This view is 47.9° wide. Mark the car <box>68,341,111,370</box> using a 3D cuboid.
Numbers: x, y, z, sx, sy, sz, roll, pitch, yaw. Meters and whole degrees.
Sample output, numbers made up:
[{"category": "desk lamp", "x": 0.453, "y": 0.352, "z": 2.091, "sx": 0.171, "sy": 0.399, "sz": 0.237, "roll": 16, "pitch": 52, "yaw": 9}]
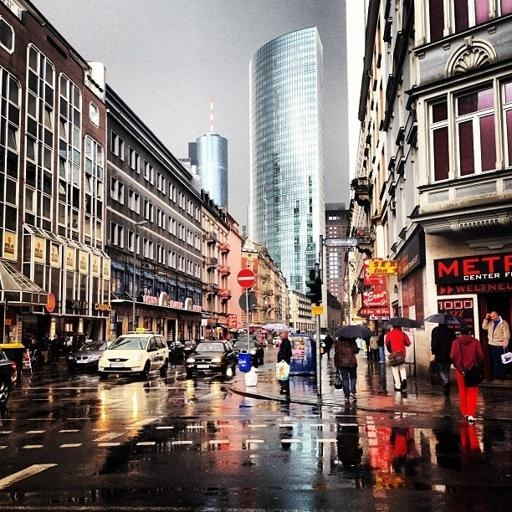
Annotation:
[{"category": "car", "x": -8.794, "y": 5.249, "z": 30.674, "sx": 1.208, "sy": 1.214, "sz": 3.146, "roll": -1, "pitch": -7, "yaw": 4}]

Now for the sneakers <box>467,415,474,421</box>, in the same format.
[{"category": "sneakers", "x": 4.096, "y": 3.113, "z": 11.032, "sx": 0.128, "sy": 0.099, "sz": 0.172, "roll": -6, "pitch": -13, "yaw": 21}]

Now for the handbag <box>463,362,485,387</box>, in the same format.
[{"category": "handbag", "x": 4.218, "y": 2.304, "z": 11.186, "sx": 0.398, "sy": 0.447, "sz": 0.264, "roll": -2, "pitch": -11, "yaw": 4}]

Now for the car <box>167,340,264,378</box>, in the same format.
[{"category": "car", "x": -2.181, "y": 4.930, "z": 27.830, "sx": 1.958, "sy": 1.879, "sz": 3.747, "roll": -2, "pitch": -13, "yaw": 6}]

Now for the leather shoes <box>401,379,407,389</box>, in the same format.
[{"category": "leather shoes", "x": 4.320, "y": 3.781, "z": 16.987, "sx": 0.150, "sy": 0.300, "sz": 0.305, "roll": -5, "pitch": -13, "yaw": 22}]

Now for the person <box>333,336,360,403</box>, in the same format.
[{"category": "person", "x": 2.397, "y": 2.973, "z": 15.318, "sx": 0.615, "sy": 1.645, "sz": 0.841, "roll": -2, "pitch": -11, "yaw": 9}]

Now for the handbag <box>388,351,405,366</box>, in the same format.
[{"category": "handbag", "x": 4.153, "y": 3.087, "z": 17.018, "sx": 0.486, "sy": 0.429, "sz": 0.343, "roll": -13, "pitch": -33, "yaw": 24}]

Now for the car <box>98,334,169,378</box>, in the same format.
[{"category": "car", "x": -5.451, "y": 4.533, "z": 26.620, "sx": 2.097, "sy": 2.200, "sz": 5.332, "roll": -3, "pitch": -13, "yaw": 10}]

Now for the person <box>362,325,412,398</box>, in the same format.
[{"category": "person", "x": 4.219, "y": 3.039, "z": 17.187, "sx": 0.690, "sy": 2.003, "sz": 1.301, "roll": -4, "pitch": -12, "yaw": 14}]

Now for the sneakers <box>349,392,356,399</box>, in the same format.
[{"category": "sneakers", "x": 2.544, "y": 3.688, "z": 15.289, "sx": 0.123, "sy": 0.170, "sz": 0.383, "roll": 1, "pitch": -15, "yaw": -1}]

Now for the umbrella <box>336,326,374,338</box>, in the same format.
[{"category": "umbrella", "x": 2.638, "y": 2.033, "z": 15.588, "sx": 0.922, "sy": 0.434, "sz": 0.974, "roll": -4, "pitch": -13, "yaw": 12}]
